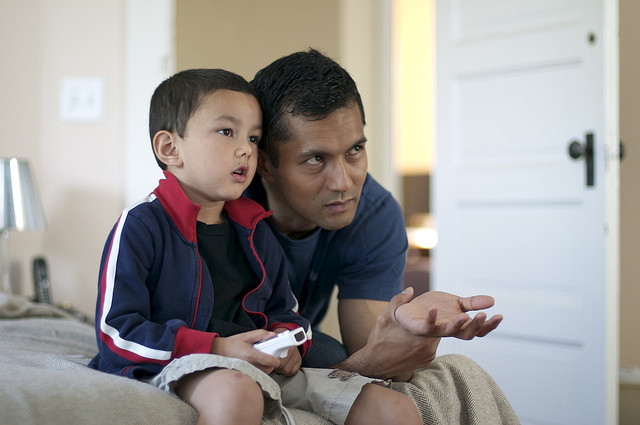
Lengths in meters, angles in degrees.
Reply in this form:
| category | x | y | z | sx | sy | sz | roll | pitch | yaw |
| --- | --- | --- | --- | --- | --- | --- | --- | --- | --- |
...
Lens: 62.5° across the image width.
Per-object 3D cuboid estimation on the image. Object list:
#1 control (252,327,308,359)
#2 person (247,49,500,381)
| category | x | y | z | sx | sy | sz | roll | pitch | yaw |
| --- | --- | --- | --- | --- | --- | --- | --- | --- | --- |
| control | -0.111 | 0.361 | 1.416 | 0.124 | 0.106 | 0.115 | -2 | 3 | -34 |
| person | 0.226 | -0.009 | 1.885 | 0.778 | 0.934 | 1.075 | -4 | 8 | -25 |
